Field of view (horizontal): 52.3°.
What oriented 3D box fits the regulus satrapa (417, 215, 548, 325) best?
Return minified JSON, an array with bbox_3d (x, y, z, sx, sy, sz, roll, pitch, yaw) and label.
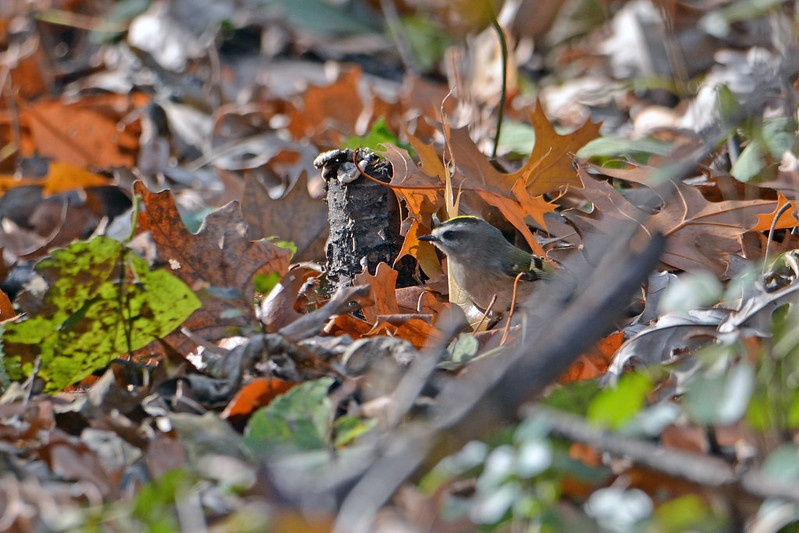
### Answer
[{"bbox_3d":[0.344,-0.005,2.769,0.529,0.351,0.286,-13,7,-30],"label":"regulus satrapa"}]
